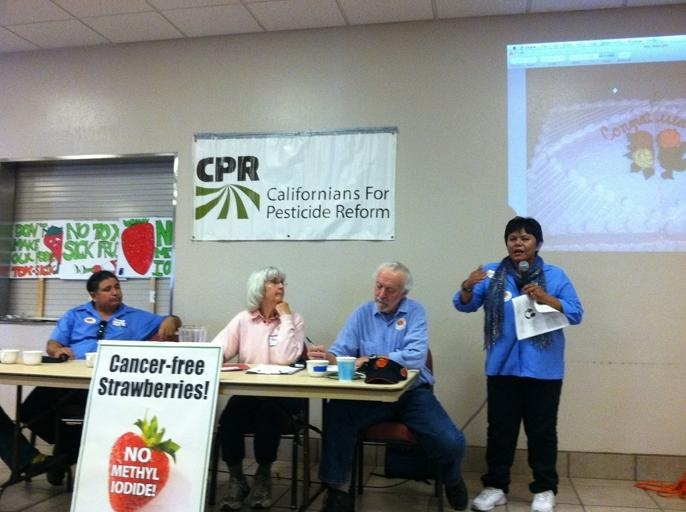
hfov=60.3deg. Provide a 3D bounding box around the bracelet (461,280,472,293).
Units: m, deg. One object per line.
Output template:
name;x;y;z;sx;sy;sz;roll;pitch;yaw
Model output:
bracelet;0.847;0.216;4.030;0.067;0.050;0.069;0;-6;1

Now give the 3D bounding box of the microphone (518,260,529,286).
microphone;1.201;0.113;3.915;0.069;0.165;0.163;1;2;17

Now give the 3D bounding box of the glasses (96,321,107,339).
glasses;-1.791;0.562;4.443;0.039;0.113;0.078;11;-6;-11

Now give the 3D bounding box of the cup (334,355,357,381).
cup;0.025;0.654;3.411;0.119;0.125;0.122;0;-7;0

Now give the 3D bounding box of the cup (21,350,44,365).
cup;-1.944;0.626;3.739;0.123;0.085;0.125;-2;-7;0

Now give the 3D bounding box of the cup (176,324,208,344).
cup;-1.209;0.635;4.836;0.178;0.114;0.182;0;-1;0

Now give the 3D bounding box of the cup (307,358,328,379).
cup;-0.131;0.655;3.439;0.099;0.063;0.100;0;-10;0

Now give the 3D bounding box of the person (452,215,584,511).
person;1.191;0.714;4.004;0.764;1.939;0.423;1;2;11

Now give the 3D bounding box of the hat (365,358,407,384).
hat;0.234;0.661;3.341;0.129;0.065;0.178;3;3;13

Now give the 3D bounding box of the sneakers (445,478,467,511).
sneakers;0.736;1.567;3.846;0.102;0.126;0.294;-4;-28;3
